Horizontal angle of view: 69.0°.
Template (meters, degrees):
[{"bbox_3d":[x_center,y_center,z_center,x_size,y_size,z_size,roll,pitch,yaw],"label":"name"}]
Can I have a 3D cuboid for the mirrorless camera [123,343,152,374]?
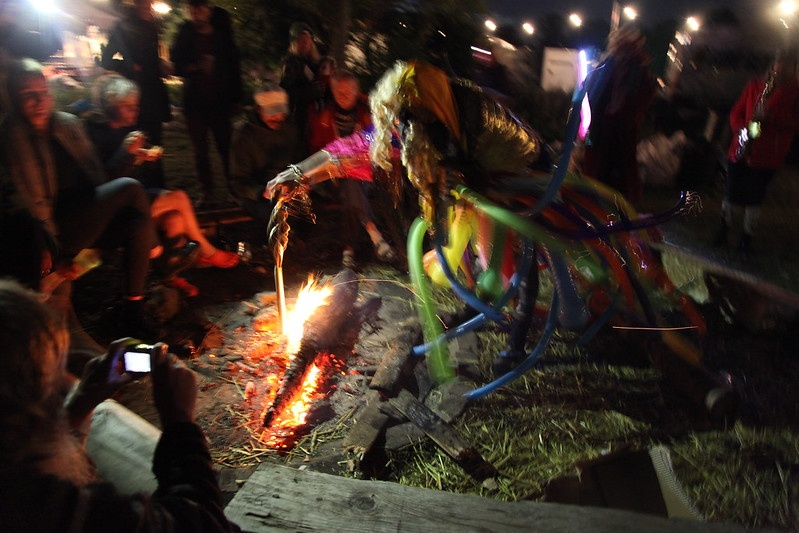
[{"bbox_3d":[-1.409,0.507,3.159,0.226,0.175,0.075,10,6,36],"label":"mirrorless camera"}]

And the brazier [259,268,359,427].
[{"bbox_3d":[-0.596,0.495,4.558,0.268,0.313,1.743,-18,29,33],"label":"brazier"}]
